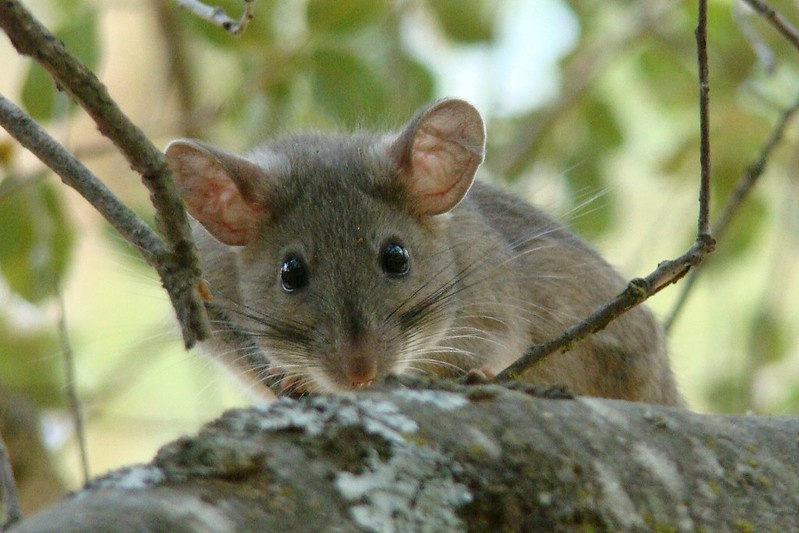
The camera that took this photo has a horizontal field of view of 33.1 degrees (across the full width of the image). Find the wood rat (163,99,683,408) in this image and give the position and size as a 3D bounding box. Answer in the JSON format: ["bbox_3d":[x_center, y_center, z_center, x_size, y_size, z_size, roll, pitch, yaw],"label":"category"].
[{"bbox_3d":[-0.390,0.239,11.329,2.854,5.079,2.766,-12,91,5],"label":"wood rat"}]
